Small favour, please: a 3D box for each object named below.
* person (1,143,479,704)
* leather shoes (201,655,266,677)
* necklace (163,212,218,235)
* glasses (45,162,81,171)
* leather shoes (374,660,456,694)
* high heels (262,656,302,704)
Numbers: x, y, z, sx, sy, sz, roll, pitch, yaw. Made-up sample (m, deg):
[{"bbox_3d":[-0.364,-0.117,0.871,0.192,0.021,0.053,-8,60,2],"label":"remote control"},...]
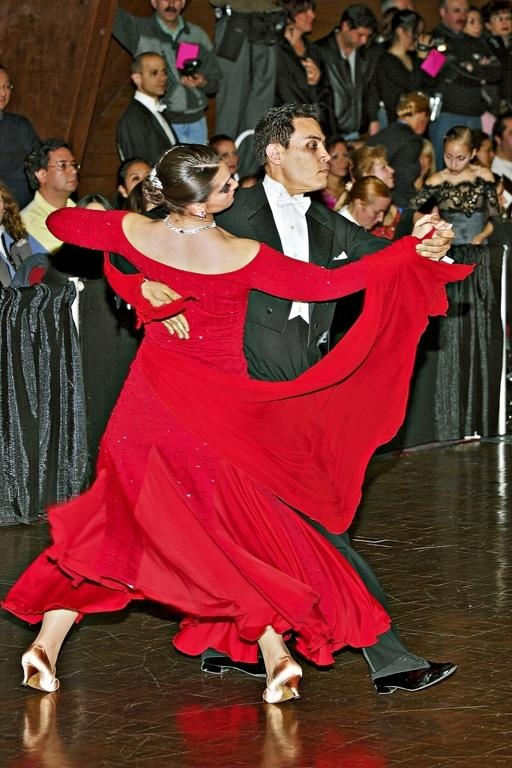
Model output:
[{"bbox_3d":[-0.061,0.142,2.129,1.290,1.535,0.455,-1,10,7],"label":"person"},{"bbox_3d":[-0.071,0.880,2.379,0.191,0.046,0.067,0,5,0],"label":"leather shoes"},{"bbox_3d":[-0.181,-0.408,1.954,0.145,0.054,0.064,2,10,26],"label":"necklace"},{"bbox_3d":[-1.256,-1.441,5.013,0.119,0.032,0.112,-1,2,35],"label":"glasses"},{"bbox_3d":[0.446,0.828,2.142,0.199,0.068,0.098,-16,1,3],"label":"leather shoes"},{"bbox_3d":[0.068,0.807,2.108,0.100,0.184,0.165,-2,9,1],"label":"high heels"}]
